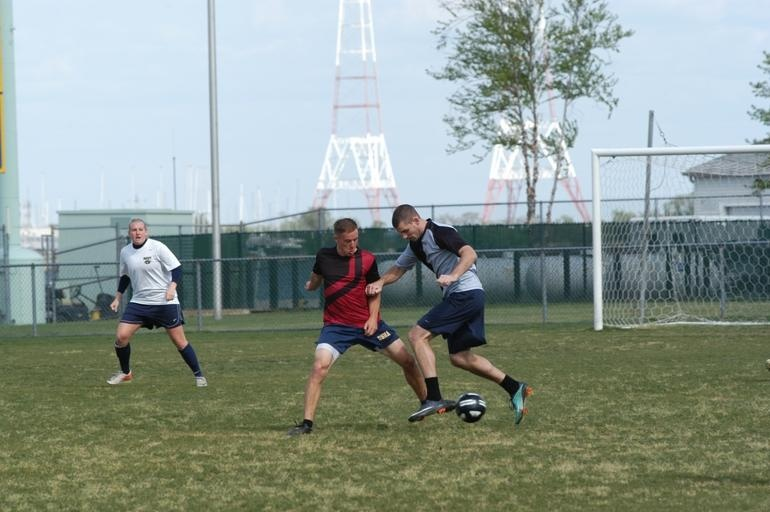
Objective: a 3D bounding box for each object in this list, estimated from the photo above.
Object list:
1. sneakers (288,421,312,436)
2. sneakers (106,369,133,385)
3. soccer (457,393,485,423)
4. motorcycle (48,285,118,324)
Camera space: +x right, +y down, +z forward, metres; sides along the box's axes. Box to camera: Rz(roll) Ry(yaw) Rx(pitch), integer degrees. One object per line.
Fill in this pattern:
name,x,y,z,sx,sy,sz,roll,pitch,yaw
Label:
sneakers,-1.311,2.661,18.847,0.383,0.166,0.179,0,-5,1
sneakers,-4.734,2.144,21.547,0.537,0.233,0.182,-2,9,-13
soccer,1.291,2.330,18.687,0.407,0.419,0.416,-6,-9,7
motorcycle,-8.681,1.307,34.856,1.854,0.728,1.341,-1,21,-7
